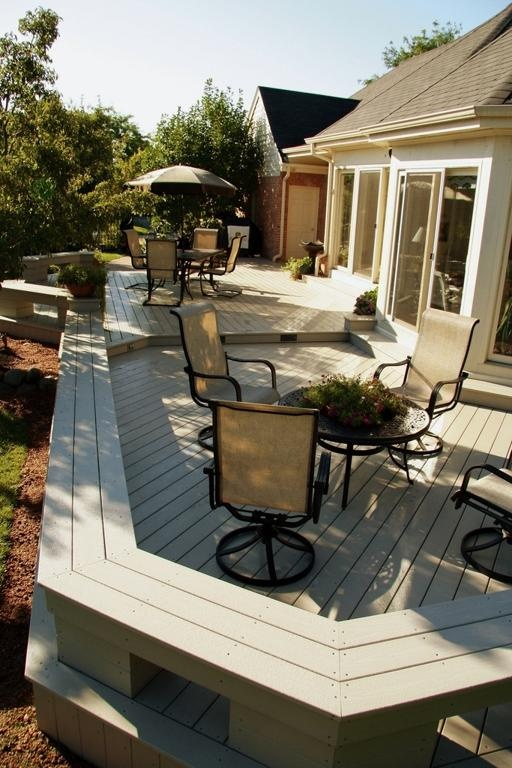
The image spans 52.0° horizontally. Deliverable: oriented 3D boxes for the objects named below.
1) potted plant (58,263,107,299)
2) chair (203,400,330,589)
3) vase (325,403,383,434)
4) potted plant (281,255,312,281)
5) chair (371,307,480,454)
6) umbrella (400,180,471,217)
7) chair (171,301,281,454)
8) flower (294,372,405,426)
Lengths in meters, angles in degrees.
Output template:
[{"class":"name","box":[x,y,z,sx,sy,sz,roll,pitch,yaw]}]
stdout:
[{"class":"potted plant","box":[-2.472,-1.453,7.478,0.635,0.470,0.385,-4,16,-16]},{"class":"chair","box":[0.064,0.494,2.720,0.627,0.919,0.617,8,13,24]},{"class":"vase","box":[0.642,0.223,3.377,0.227,0.090,0.184,5,5,-24]},{"class":"potted plant","box":[1.086,-2.933,13.355,0.446,0.544,1.250,-4,16,-16]},{"class":"chair","box":[1.406,-0.001,4.483,0.845,1.043,0.758,-10,28,-16]},{"class":"umbrella","box":[2.255,-2.306,6.527,0.536,0.199,0.842,19,23,-2]},{"class":"chair","box":[-0.237,-0.036,4.307,0.726,1.129,0.851,-17,27,-41]},{"class":"flower","box":[0.650,0.119,3.536,0.446,0.174,0.468,9,17,-2]}]
